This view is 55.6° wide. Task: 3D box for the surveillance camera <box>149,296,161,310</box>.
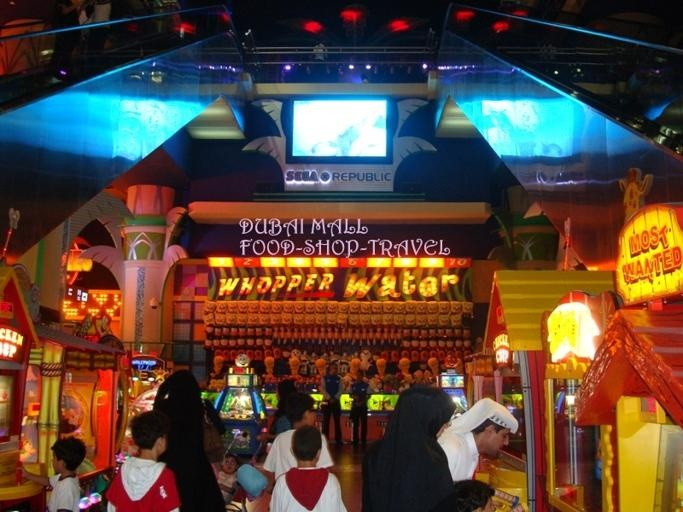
[{"bbox_3d":[-4.408,1.098,15.366,0.179,0.229,0.244,-2,-50,1],"label":"surveillance camera"}]
